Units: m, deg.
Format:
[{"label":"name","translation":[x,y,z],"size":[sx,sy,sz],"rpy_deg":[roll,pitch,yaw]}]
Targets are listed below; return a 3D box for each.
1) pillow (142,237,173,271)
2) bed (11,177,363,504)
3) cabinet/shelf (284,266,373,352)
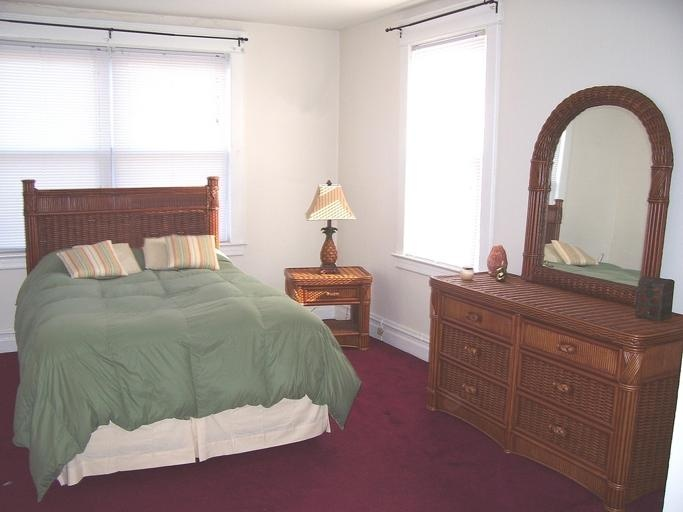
[{"label":"pillow","translation":[-1.711,-0.008,4.611],"size":[0.320,0.297,0.097],"rpy_deg":[-9,-14,5]},{"label":"bed","translation":[-1.513,0.291,4.037],"size":[2.091,1.392,2.741],"rpy_deg":[-2,15,-29]},{"label":"cabinet/shelf","translation":[-0.143,0.554,5.130],"size":[0.845,0.773,0.527],"rpy_deg":[-2,9,-15]}]
